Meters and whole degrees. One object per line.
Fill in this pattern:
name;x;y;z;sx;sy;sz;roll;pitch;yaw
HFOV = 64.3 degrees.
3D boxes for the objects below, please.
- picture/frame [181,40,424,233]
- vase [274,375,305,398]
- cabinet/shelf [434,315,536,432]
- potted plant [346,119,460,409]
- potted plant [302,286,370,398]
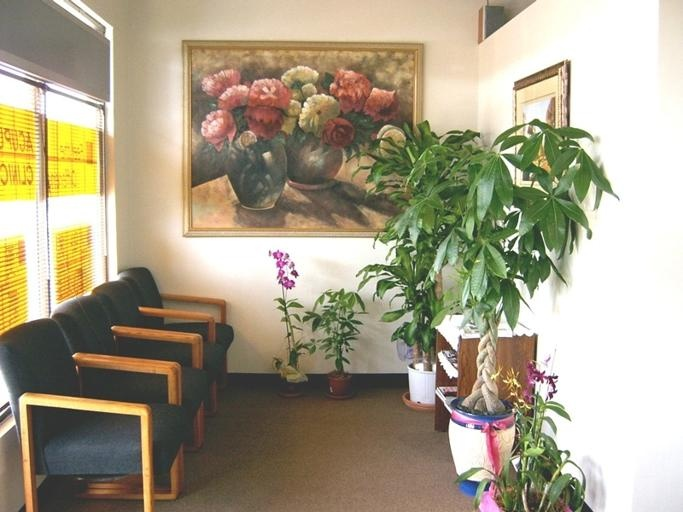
picture/frame;-0.365;-1.051;4.440;1.402;1.336;0.067;0;4;1
vase;-0.414;1.067;4.508;0.180;0.215;0.203;3;5;12
cabinet/shelf;0.991;0.706;3.933;0.575;1.008;0.953;1;1;0
potted plant;0.539;0.152;4.043;0.754;1.958;0.729;3;0;-5
potted plant;-0.029;0.743;4.552;0.494;0.864;0.493;-2;-5;6
